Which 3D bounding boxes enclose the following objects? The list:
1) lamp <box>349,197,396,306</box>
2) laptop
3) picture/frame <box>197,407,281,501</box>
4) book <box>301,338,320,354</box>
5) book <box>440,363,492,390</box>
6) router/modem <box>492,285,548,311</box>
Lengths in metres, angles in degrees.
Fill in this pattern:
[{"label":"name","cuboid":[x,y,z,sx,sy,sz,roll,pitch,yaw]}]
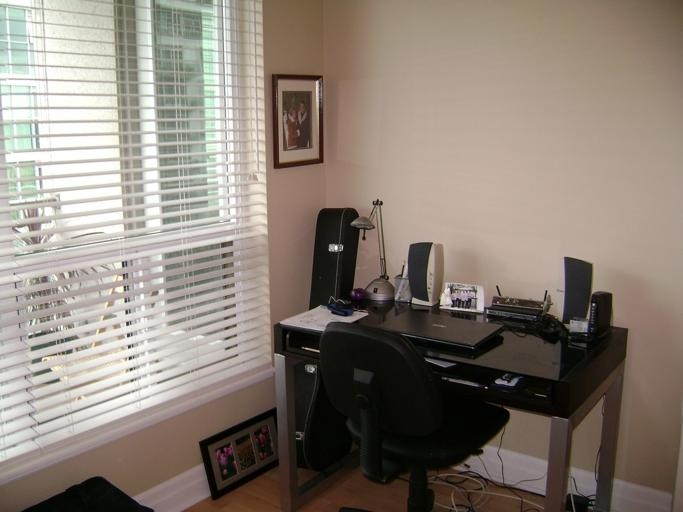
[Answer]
[{"label":"lamp","cuboid":[0.181,-0.050,3.156,0.248,0.520,0.530,1,14,3]},{"label":"laptop","cuboid":[0.424,0.390,2.528,0.512,0.044,0.345,10,-4,42]},{"label":"picture/frame","cuboid":[-0.584,1.097,3.004,0.508,0.332,0.023,-15,0,-43]},{"label":"book","cuboid":[-0.159,0.426,2.616,0.065,0.059,0.015,3,-10,26]},{"label":"book","cuboid":[0.508,0.487,2.223,0.118,0.026,0.118,5,5,34]},{"label":"router/modem","cuboid":[0.879,0.191,2.691,0.188,0.070,0.133,2,7,29]}]
